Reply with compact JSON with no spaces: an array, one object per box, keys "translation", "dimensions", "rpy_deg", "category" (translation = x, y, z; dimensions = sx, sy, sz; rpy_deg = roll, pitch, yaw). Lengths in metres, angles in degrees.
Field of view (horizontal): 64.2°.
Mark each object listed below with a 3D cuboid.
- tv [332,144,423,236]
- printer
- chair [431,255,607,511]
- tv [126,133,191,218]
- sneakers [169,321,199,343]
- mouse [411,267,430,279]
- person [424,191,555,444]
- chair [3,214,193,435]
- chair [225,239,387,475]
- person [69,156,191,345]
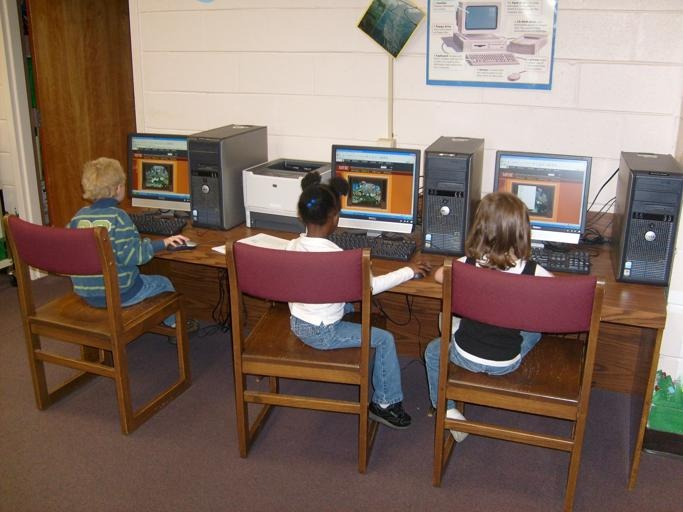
[{"translation":[0.174,-0.342,2.803],"dimensions":[0.398,0.402,0.044],"rpy_deg":[9,12,14],"category":"tv"},{"translation":[-0.326,-0.329,3.125],"dimensions":[0.393,0.338,0.442],"rpy_deg":[8,19,18],"category":"printer"},{"translation":[0.713,0.531,2.220],"dimensions":[0.578,1.129,0.645],"rpy_deg":[8,44,15],"category":"chair"},{"translation":[-1.070,-0.482,3.201],"dimensions":[0.465,0.386,0.059],"rpy_deg":[9,12,12],"category":"tv"},{"translation":[-0.973,0.468,3.445],"dimensions":[0.161,0.060,0.179],"rpy_deg":[2,21,2],"category":"sneakers"},{"translation":[0.360,0.078,2.450],"dimensions":[0.050,0.018,0.052],"rpy_deg":[8,25,10],"category":"mouse"},{"translation":[0.629,0.275,2.443],"dimensions":[0.448,1.116,0.560],"rpy_deg":[2,17,-2],"category":"person"},{"translation":[-1.208,0.377,2.737],"dimensions":[0.606,1.213,0.709],"rpy_deg":[11,27,17],"category":"chair"},{"translation":[-0.134,0.380,2.512],"dimensions":[0.758,0.994,0.764],"rpy_deg":[-5,16,-22],"category":"chair"},{"translation":[-1.101,-0.013,2.837],"dimensions":[0.605,0.951,0.548],"rpy_deg":[-6,8,-39],"category":"person"}]
